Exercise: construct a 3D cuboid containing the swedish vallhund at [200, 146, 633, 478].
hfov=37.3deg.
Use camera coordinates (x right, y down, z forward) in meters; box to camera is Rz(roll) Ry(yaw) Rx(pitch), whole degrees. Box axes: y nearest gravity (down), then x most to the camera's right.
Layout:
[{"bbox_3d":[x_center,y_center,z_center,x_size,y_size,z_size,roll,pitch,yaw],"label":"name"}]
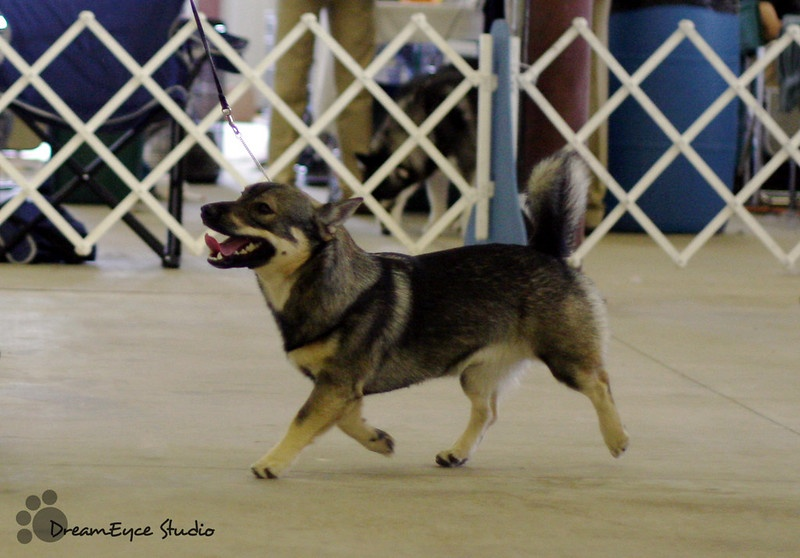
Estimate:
[{"bbox_3d":[0.032,0.152,4.545,1.863,1.122,0.502,4,-3,-32],"label":"swedish vallhund"}]
